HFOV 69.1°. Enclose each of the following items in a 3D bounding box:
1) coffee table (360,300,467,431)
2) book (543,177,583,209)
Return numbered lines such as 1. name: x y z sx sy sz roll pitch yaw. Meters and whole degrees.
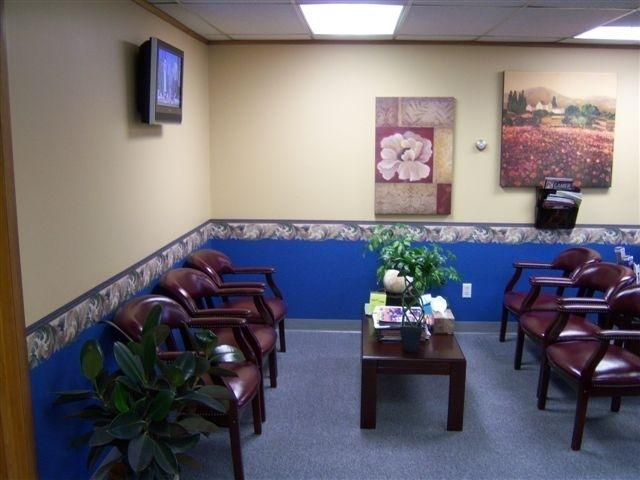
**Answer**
1. coffee table: 0.683 0.883 3.493 0.568 0.429 0.894 0 8 3
2. book: 2.491 -0.498 4.771 0.383 0.281 0.122 -3 14 -11
